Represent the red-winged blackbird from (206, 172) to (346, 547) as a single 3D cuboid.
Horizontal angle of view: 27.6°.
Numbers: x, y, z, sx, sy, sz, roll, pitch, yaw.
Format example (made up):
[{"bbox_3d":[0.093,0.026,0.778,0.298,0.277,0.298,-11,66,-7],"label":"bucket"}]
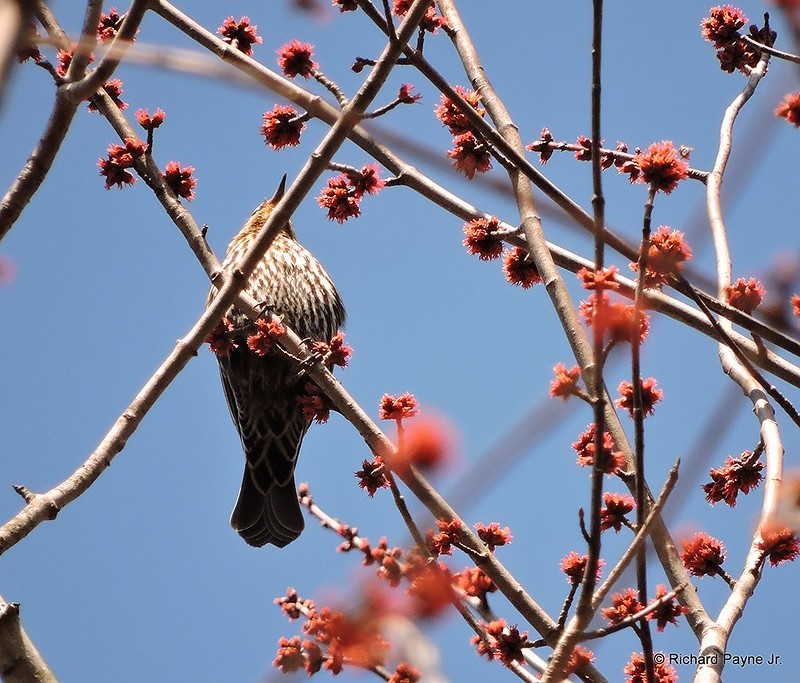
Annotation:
[{"bbox_3d":[-0.585,0.160,7.628,0.704,1.096,1.995,0,-85,-3],"label":"red-winged blackbird"}]
